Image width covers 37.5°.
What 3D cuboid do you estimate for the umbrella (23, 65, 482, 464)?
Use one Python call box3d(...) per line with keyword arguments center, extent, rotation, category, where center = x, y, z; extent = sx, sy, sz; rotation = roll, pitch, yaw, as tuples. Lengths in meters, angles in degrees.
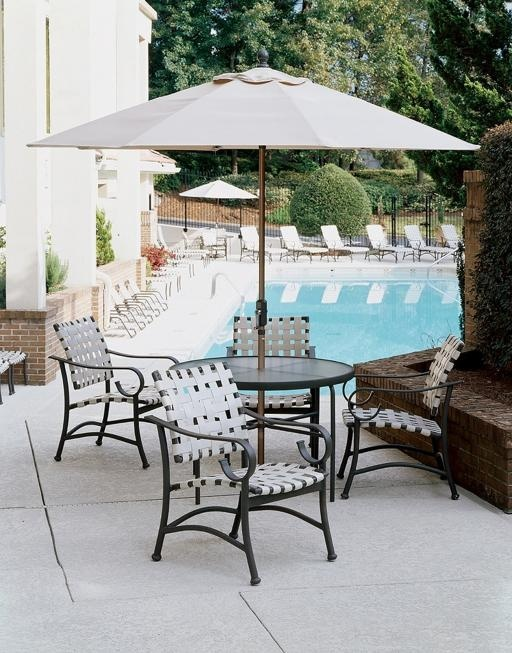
box3d(center=(-0.051, -0.515, 4.443), extent=(1.810, 1.355, 1.870), rotation=(-5, 10, -31), category="umbrella")
